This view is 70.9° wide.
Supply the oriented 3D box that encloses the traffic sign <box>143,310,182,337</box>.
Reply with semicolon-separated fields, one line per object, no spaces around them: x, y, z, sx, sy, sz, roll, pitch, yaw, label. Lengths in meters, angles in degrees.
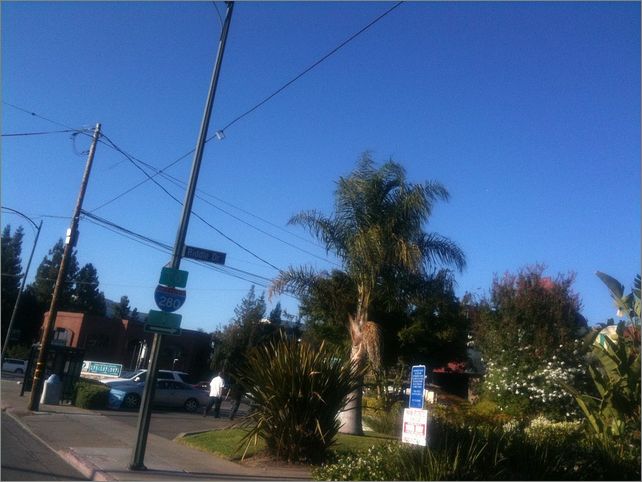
-3.736;1.957;10.725;0.802;0.527;0.466;16;-17;-22;traffic sign
